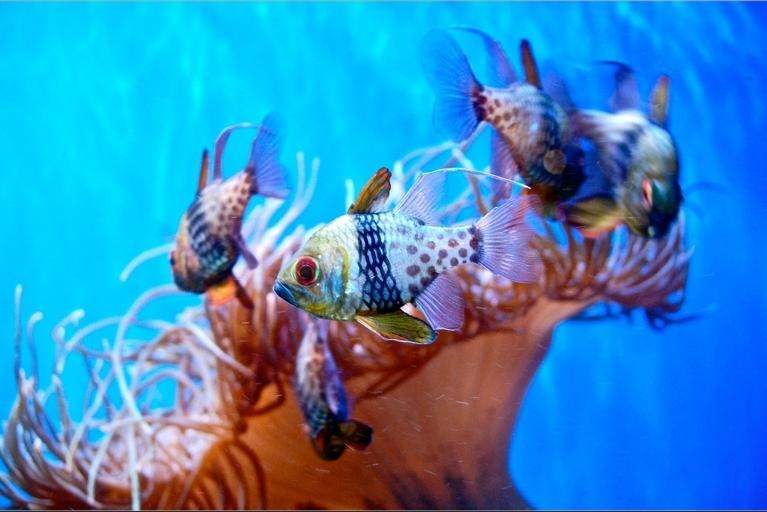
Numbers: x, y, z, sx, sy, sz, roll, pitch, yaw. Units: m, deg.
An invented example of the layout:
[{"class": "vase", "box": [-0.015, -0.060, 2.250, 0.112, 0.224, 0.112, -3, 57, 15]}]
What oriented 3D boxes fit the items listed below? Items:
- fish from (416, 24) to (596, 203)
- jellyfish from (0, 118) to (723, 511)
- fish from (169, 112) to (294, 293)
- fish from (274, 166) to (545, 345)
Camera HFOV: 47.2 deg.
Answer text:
[{"class": "fish", "box": [0.303, -0.351, 2.132, 0.407, 0.356, 0.233, 4, 39, 12]}, {"class": "jellyfish", "box": [-0.205, 0.035, 2.168, 1.168, 0.544, 1.058, -6, -4, -15]}, {"class": "fish", "box": [-0.369, -0.123, 2.135, 0.357, 0.320, 0.192, -25, 42, -22]}, {"class": "fish", "box": [0.063, 0.011, 1.936, 0.596, 0.351, 0.233, -20, 40, -17]}]
